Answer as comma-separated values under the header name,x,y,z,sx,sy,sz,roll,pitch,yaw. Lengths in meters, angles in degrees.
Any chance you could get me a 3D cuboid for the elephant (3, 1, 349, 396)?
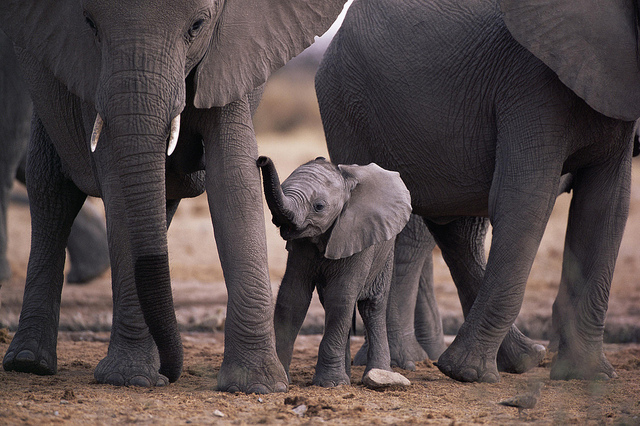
name,x,y,z,sx,sy,sz,roll,pitch,yaw
elephant,-1.392,-0.144,7.233,1.535,2.565,2.226,8,-8,-42
